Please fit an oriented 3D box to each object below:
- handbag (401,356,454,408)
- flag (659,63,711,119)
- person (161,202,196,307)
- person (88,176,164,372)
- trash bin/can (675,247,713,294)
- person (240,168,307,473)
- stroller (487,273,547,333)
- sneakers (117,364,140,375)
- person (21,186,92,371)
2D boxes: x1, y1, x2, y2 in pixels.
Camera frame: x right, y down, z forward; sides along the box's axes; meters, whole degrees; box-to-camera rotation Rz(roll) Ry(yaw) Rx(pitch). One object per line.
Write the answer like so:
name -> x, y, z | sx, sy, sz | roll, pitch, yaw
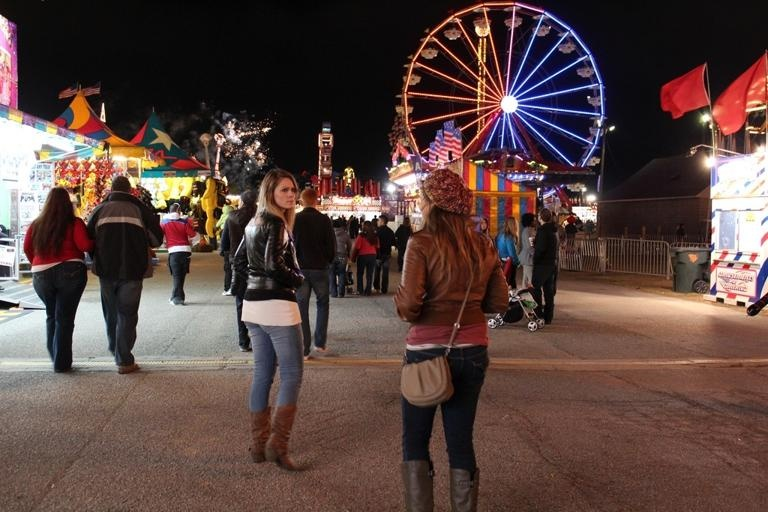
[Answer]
handbag -> 0.314, 0.932, 3.924 | 0.370, 0.376, 0.182 | -15, -12, 21
flag -> 7.921, -4.218, 13.774 | 0.883, 1.280, 0.942 | 2, 5, -8
person -> -4.600, -0.072, 11.789 | 0.661, 2.147, 1.468 | 0, 5, -23
person -> -3.507, 0.238, 7.101 | 0.910, 2.591, 0.643 | 1, 5, -19
trash bin/can -> 8.454, 0.421, 14.618 | 1.078, 1.480, 1.094 | 0, -4, 2
person -> -1.035, 0.572, 5.010 | 0.689, 2.772, 0.455 | 6, 6, 38
stroller -> 2.470, 0.952, 10.001 | 0.873, 0.775, 0.580 | 3, 11, 12
sneakers -> -3.398, 1.501, 7.000 | 0.116, 0.130, 0.294 | 4, 6, 20
person -> -4.314, 0.312, 6.988 | 0.707, 2.405, 0.459 | 4, 5, 21
